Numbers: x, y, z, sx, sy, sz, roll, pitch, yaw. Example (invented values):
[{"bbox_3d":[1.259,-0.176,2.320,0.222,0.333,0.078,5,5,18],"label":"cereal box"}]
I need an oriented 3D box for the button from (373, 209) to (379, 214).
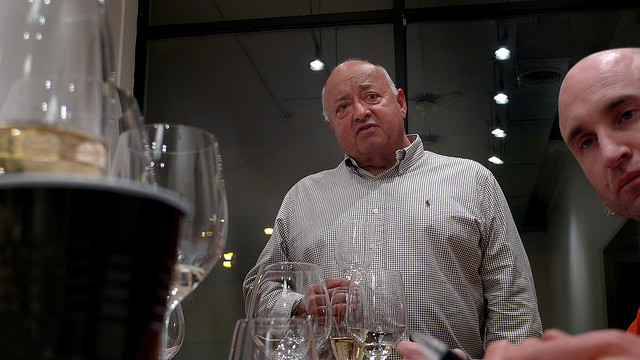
[{"bbox_3d":[0.226,0.127,2.468,0.014,0.015,0.004,-5,-33,1],"label":"button"}]

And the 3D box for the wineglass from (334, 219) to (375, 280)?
[{"bbox_3d":[0.114,0.222,1.931,0.124,0.190,0.151,-1,-15,14],"label":"wineglass"}]

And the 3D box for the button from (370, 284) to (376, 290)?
[{"bbox_3d":[0.141,0.285,1.622,0.013,0.013,0.003,9,-1,15],"label":"button"}]

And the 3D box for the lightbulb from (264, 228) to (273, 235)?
[{"bbox_3d":[-0.291,0.299,3.590,0.036,0.040,0.065,16,-20,-41],"label":"lightbulb"}]

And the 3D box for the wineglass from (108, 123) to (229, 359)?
[{"bbox_3d":[-0.323,0.098,1.275,0.260,0.536,0.376,5,-15,-10],"label":"wineglass"}]

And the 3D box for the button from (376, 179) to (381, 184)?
[{"bbox_3d":[0.245,0.009,2.563,0.018,0.018,0.007,2,-14,2],"label":"button"}]
